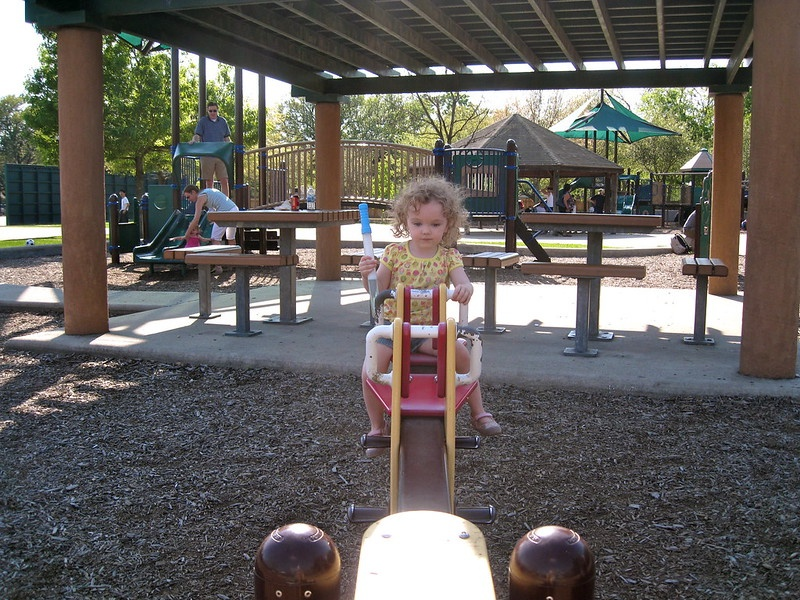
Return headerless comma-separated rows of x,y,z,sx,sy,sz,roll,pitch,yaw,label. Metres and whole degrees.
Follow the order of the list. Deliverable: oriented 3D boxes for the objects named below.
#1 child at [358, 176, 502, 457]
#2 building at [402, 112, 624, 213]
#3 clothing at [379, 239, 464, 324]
0.157,0.055,4.243,0.687,1.470,0.724,-1,14,1,child
5.178,-5.092,26.258,5.231,2.991,6.377,0,20,3,building
0.088,-0.112,4.406,0.472,0.474,0.263,1,23,-18,clothing
